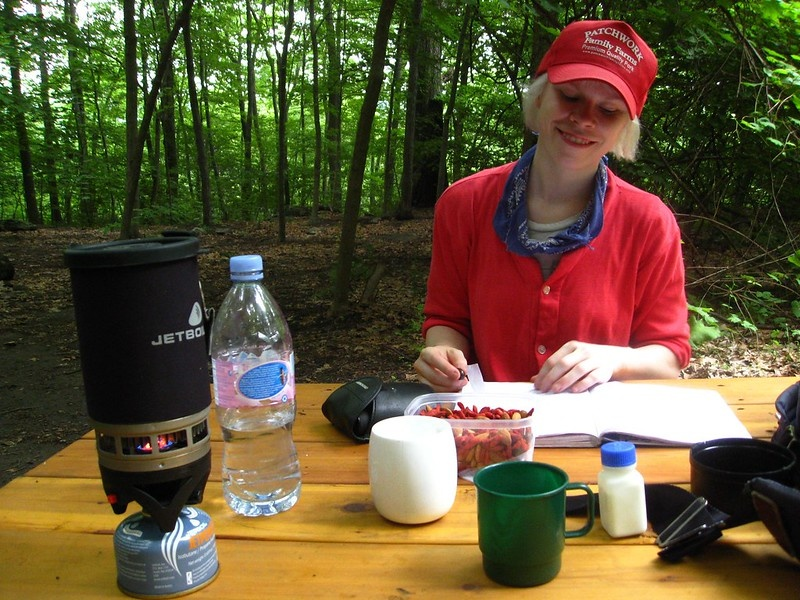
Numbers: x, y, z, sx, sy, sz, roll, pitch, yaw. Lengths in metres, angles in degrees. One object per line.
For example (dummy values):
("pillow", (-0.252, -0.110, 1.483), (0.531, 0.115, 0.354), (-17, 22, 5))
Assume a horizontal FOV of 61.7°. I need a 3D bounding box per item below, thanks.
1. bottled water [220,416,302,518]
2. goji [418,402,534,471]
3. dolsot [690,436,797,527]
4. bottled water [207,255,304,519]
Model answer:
("bottled water", (-0.349, 0.402, 1.719), (0.220, 0.223, 0.211), (-4, 1, -39))
("goji", (0.226, 0.324, 1.762), (0.219, 0.156, 0.273), (-6, 10, -42))
("dolsot", (0.754, 0.382, 1.458), (0.189, 0.112, 0.185), (-2, 6, 3))
("bottled water", (-0.372, 0.250, 1.695), (0.210, 0.707, 0.210), (-6, 14, -43))
